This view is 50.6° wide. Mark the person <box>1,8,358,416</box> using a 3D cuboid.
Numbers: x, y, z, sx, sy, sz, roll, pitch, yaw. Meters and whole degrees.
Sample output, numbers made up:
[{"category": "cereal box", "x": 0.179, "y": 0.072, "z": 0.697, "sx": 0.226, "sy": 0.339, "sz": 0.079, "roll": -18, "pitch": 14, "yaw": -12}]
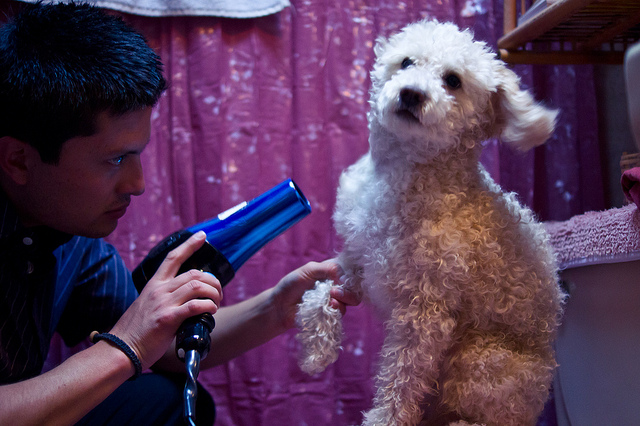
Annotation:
[{"category": "person", "x": -0.378, "y": 0.027, "z": 2.067, "sx": 0.802, "sy": 0.871, "sz": 1.289, "roll": 0, "pitch": 96, "yaw": 12}]

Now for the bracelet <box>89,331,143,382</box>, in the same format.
[{"category": "bracelet", "x": -0.548, "y": 0.382, "z": 1.794, "sx": 0.115, "sy": 0.034, "sz": 0.142, "roll": -36, "pitch": 89, "yaw": -38}]

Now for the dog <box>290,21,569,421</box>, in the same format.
[{"category": "dog", "x": 0.428, "y": 0.155, "z": 2.523, "sx": 0.925, "sy": 0.903, "sz": 1.577, "roll": 11, "pitch": 82, "yaw": -13}]
